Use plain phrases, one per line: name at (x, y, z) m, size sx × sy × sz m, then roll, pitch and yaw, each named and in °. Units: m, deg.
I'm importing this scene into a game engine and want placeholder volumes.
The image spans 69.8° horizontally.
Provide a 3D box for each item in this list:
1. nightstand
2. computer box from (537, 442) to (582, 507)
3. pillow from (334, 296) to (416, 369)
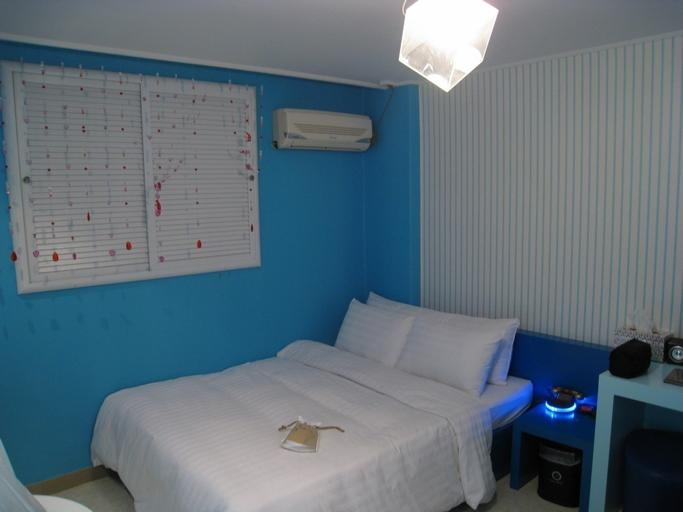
nightstand at (1.429, 1.221, 3.294) m, size 0.494 × 0.549 × 0.545 m, roll 9°, pitch 12°, yaw 43°
computer box at (1.427, 1.427, 3.206) m, size 0.258 × 0.333 × 0.162 m, roll 6°, pitch 14°, yaw 22°
pillow at (0.287, 0.633, 4.014) m, size 0.172 × 0.413 × 0.633 m, roll 22°, pitch -2°, yaw -37°
